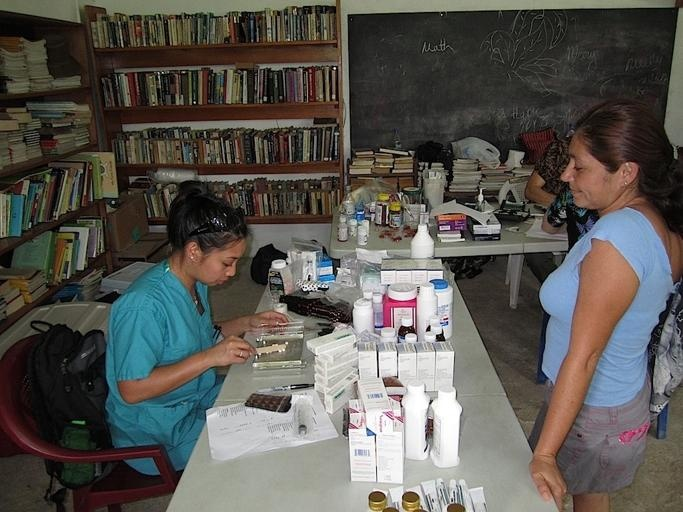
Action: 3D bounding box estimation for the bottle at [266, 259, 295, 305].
[{"bbox_3d":[-0.321,0.104,2.493,0.137,0.188,0.126,0,28,0],"label":"bottle"}]

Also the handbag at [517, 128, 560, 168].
[{"bbox_3d":[2.102,-1.152,5.157,0.367,0.342,0.207,-7,8,8],"label":"handbag"}]

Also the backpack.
[{"bbox_3d":[-1.175,0.540,2.084,0.288,0.544,0.414,-2,2,-12],"label":"backpack"}]

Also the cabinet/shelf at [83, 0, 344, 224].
[{"bbox_3d":[-1.267,-1.494,4.667,2.627,2.306,0.640,0,25,3],"label":"cabinet/shelf"}]

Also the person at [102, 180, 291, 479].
[{"bbox_3d":[-0.576,0.446,2.120,0.797,1.363,0.712,6,7,-11],"label":"person"}]

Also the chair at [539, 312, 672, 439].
[{"bbox_3d":[1.472,0.476,2.757,0.618,0.515,0.761,5,60,19],"label":"chair"}]

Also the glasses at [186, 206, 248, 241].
[{"bbox_3d":[-0.476,-0.145,1.804,0.144,0.045,0.141,-17,5,11],"label":"glasses"}]

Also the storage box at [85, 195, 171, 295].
[{"bbox_3d":[-1.830,-0.096,3.979,0.448,0.723,0.761,1,24,0],"label":"storage box"}]
